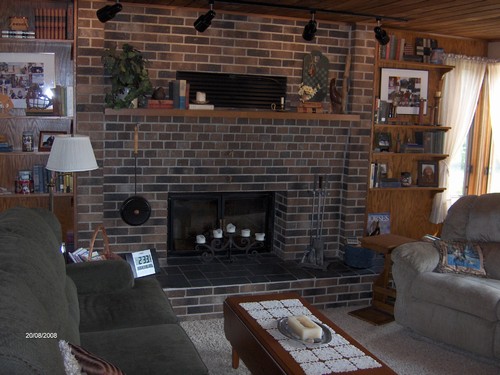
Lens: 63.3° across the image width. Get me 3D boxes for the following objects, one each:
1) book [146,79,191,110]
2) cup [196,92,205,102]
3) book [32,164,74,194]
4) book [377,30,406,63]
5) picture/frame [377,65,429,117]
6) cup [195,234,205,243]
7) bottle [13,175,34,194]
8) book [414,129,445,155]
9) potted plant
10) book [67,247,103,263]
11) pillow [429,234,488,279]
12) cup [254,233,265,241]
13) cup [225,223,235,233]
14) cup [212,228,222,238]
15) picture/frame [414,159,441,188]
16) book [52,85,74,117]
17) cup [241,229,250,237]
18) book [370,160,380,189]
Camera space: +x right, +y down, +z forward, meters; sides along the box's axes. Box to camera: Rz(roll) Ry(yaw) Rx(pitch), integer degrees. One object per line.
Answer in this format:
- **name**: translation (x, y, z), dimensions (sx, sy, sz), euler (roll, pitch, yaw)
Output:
- **book**: translation (-0.849, -0.971, 4.248), dimensions (0.428, 0.310, 0.149), euler (-2, 9, -18)
- **cup**: translation (-0.528, -0.971, 4.344), dimensions (0.087, 0.116, 0.063), euler (5, 39, -1)
- **book**: translation (-1.918, -0.083, 3.985), dimensions (0.301, 0.259, 0.162), euler (0, 9, -6)
- **book**: translation (1.751, -1.726, 5.201), dimensions (0.441, 0.411, 0.312), euler (-3, 6, -42)
- **picture/frame**: translation (2.006, -1.237, 5.262), dimensions (0.731, 0.578, 0.015), euler (-4, 10, -21)
- **cup**: translation (-0.573, 0.602, 4.723), dimensions (0.085, 0.066, 0.108), euler (1, 0, -8)
- **bottle**: translation (-2.375, -0.029, 4.270), dimensions (0.192, 0.199, 0.179), euler (2, 2, -25)
- **book**: translation (2.343, -0.581, 5.411), dimensions (0.398, 0.370, 0.291), euler (0, 1, 8)
- **potted plant**: translation (-1.250, -1.135, 4.124), dimensions (0.463, 0.657, 0.345), euler (-3, 9, -22)
- **book**: translation (-1.384, 0.584, 3.465), dimensions (0.213, 0.072, 0.158), euler (-6, 14, -40)
- **pillow**: translation (2.037, 0.679, 3.935), dimensions (0.368, 0.310, 0.113), euler (4, -29, 7)
- **cup**: translation (0.124, 0.609, 5.009), dimensions (0.094, 0.069, 0.100), euler (0, 0, 0)
- **cup**: translation (-0.234, 0.479, 4.808), dimensions (0.095, 0.090, 0.098), euler (1, 2, 0)
- **cup**: translation (-0.384, 0.540, 4.768), dimensions (0.107, 0.098, 0.102), euler (0, 0, 0)
- **picture/frame**: translation (2.356, -0.186, 5.428), dimensions (0.406, 0.502, 0.037), euler (1, 0, -7)
- **book**: translation (-1.950, -0.904, 4.250), dimensions (0.272, 0.323, 0.095), euler (5, 10, 27)
- **cup**: translation (-0.057, 0.548, 4.932), dimensions (0.087, 0.062, 0.090), euler (1, 1, 0)
- **book**: translation (1.559, -0.155, 5.076), dimensions (0.183, 0.307, 0.063), euler (-7, 11, -39)
